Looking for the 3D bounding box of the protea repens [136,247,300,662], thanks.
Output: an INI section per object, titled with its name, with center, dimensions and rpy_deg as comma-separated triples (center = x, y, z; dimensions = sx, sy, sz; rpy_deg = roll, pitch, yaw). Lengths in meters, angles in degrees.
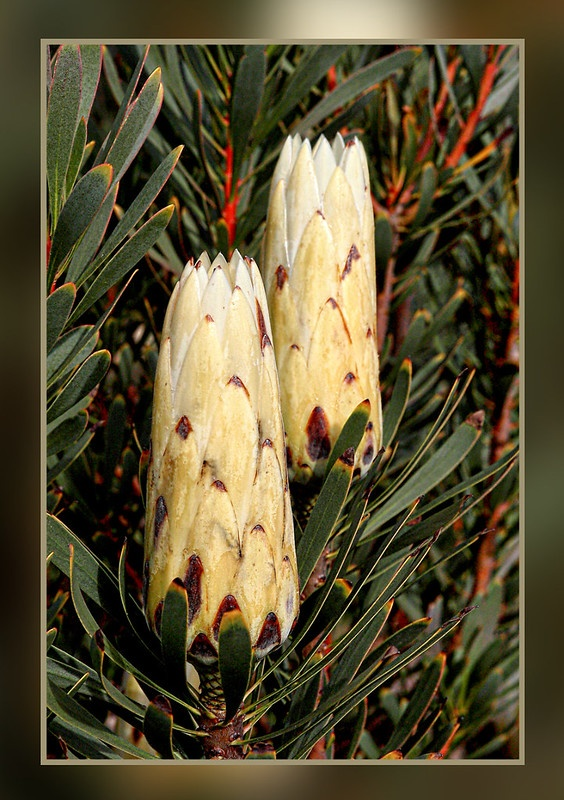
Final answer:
[protea repens]
center = -0.034, 0.041, 0.727
dimensions = 0.111, 0.269, 0.075
rpy_deg = 6, -1, -7
